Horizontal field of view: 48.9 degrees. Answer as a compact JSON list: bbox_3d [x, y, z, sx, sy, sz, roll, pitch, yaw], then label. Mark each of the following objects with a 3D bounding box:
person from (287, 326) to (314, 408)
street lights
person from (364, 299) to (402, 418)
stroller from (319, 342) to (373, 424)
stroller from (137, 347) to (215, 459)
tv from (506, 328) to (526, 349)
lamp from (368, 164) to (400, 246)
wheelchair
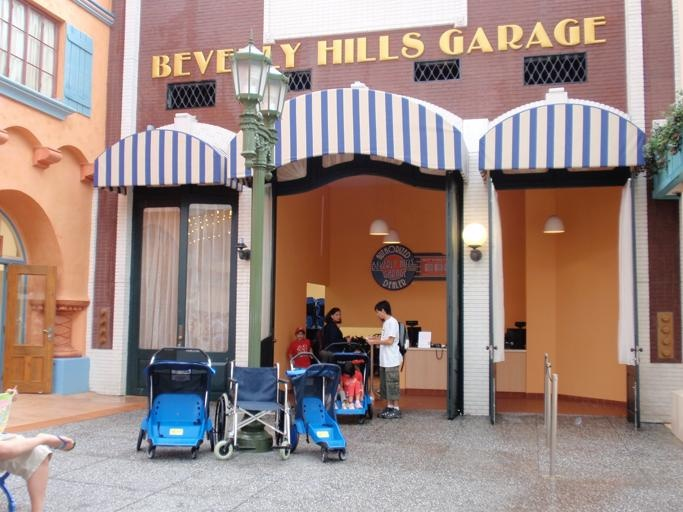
[{"bbox_3d":[-0.921,2.354,15.926,0.592,1.618,0.524,2,-3,10],"label":"person"},{"bbox_3d":[-1.377,-0.233,11.265,0.944,6.031,0.948,2,-4,1],"label":"street lights"},{"bbox_3d":[0.756,1.948,14.053,0.716,2.001,0.622,0,-2,5],"label":"person"},{"bbox_3d":[0.129,2.330,13.935,0.927,1.433,1.009,1,-4,-12],"label":"stroller"},{"bbox_3d":[-2.411,2.244,11.086,1.080,1.382,0.673,1,-6,-11],"label":"stroller"},{"bbox_3d":[3.904,1.884,17.044,0.495,0.388,0.335,1,-4,17],"label":"tv"},{"bbox_3d":[1.069,-0.629,18.890,0.656,0.535,1.396,-1,-6,6],"label":"lamp"},{"bbox_3d":[-1.299,2.327,11.442,0.974,1.376,0.912,3,-5,-11],"label":"wheelchair"}]
